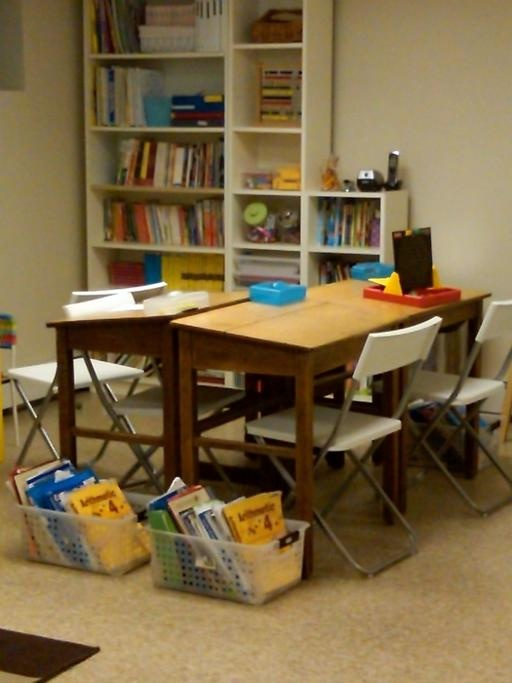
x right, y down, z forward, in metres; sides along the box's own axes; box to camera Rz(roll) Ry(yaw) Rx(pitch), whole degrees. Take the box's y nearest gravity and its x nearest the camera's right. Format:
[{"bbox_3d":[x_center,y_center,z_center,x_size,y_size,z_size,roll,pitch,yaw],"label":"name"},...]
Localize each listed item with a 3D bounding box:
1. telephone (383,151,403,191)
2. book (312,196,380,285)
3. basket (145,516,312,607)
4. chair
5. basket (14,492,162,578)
[{"bbox_3d":[0.846,-1.050,3.914,0.100,0.316,0.102,11,15,32],"label":"telephone"},{"bbox_3d":[0.595,-0.664,4.026,0.312,0.557,0.506,-1,4,-19],"label":"book"},{"bbox_3d":[-0.108,0.694,1.954,0.372,0.166,0.253,2,4,25],"label":"basket"},{"bbox_3d":[-0.079,0.159,2.516,1.166,0.691,1.100,5,10,34],"label":"chair"},{"bbox_3d":[-0.613,0.646,2.167,0.376,0.171,0.246,2,4,22],"label":"basket"}]
